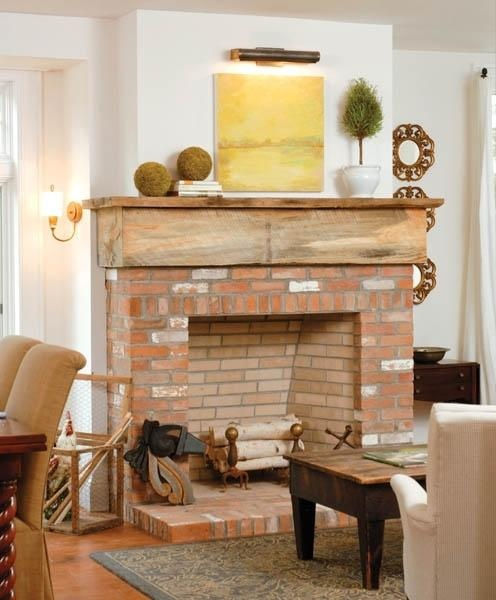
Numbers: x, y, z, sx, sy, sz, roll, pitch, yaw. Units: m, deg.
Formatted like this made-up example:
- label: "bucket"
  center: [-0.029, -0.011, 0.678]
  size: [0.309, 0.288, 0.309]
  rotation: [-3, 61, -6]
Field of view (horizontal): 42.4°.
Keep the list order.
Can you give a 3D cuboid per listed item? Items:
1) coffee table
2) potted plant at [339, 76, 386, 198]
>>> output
- label: "coffee table"
  center: [0.404, 0.716, 2.440]
  size: [0.653, 0.290, 0.464]
  rotation: [-1, 2, -27]
- label: "potted plant"
  center: [0.666, -0.980, 3.819]
  size: [0.330, 0.653, 0.311]
  rotation: [5, 12, 19]
